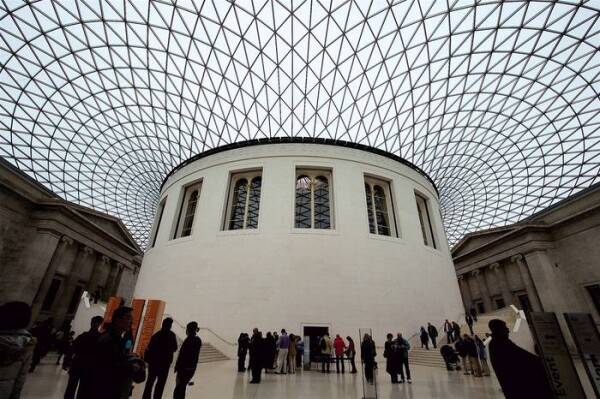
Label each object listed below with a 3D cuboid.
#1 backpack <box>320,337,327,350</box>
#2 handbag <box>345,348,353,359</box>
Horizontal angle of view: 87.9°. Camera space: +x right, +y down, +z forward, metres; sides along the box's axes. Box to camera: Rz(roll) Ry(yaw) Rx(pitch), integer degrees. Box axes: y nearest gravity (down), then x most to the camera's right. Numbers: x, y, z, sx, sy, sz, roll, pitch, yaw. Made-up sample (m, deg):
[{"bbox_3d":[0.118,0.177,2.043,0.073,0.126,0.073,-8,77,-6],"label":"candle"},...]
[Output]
[{"bbox_3d":[1.440,9.125,19.776,0.456,0.763,0.274,-16,-34,27],"label":"backpack"},{"bbox_3d":[3.115,9.552,19.520,0.539,0.781,1.306,-5,-30,10],"label":"handbag"}]
